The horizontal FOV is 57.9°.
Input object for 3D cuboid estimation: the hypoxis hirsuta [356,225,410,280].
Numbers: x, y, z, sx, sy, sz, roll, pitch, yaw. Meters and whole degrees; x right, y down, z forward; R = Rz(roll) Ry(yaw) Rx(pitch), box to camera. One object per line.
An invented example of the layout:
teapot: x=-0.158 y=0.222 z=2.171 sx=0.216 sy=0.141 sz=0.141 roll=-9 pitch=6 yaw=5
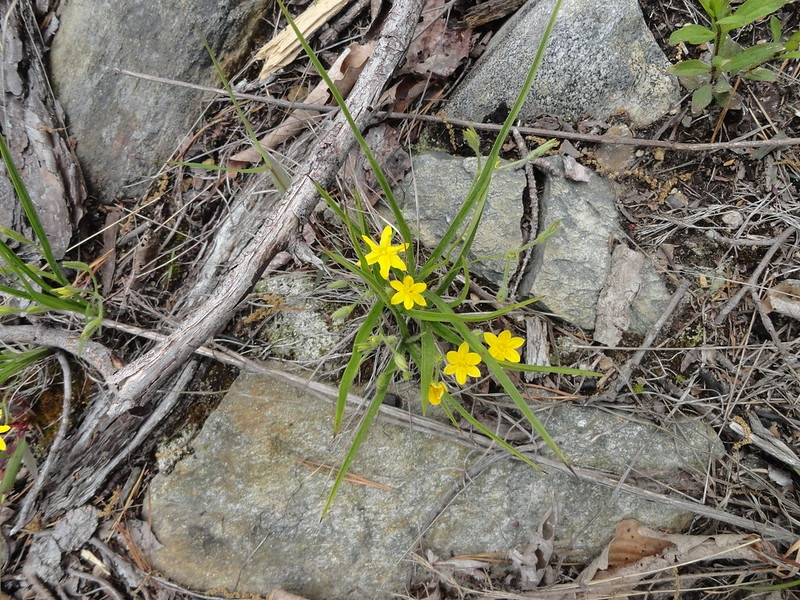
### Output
hypoxis hirsuta: x=-0.061 y=-0.217 z=3.491 sx=0.212 sy=0.108 sz=0.271 roll=-12 pitch=81 yaw=0

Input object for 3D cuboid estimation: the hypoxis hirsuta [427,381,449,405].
hypoxis hirsuta: x=0.181 y=0.468 z=3.584 sx=0.084 sy=0.047 sz=0.122 roll=15 pitch=95 yaw=-7
